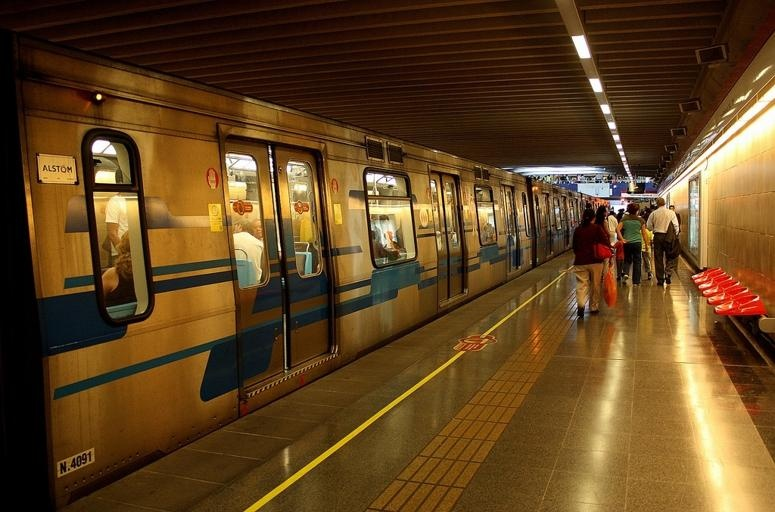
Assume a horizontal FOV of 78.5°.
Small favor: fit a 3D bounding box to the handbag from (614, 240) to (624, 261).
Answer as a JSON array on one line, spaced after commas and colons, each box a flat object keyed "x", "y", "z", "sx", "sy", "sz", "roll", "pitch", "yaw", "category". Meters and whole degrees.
[{"x": 6.195, "y": -0.124, "z": 12.653, "sx": 0.180, "sy": 0.484, "sz": 0.389, "roll": -3, "pitch": -1, "yaw": 13, "category": "handbag"}]
